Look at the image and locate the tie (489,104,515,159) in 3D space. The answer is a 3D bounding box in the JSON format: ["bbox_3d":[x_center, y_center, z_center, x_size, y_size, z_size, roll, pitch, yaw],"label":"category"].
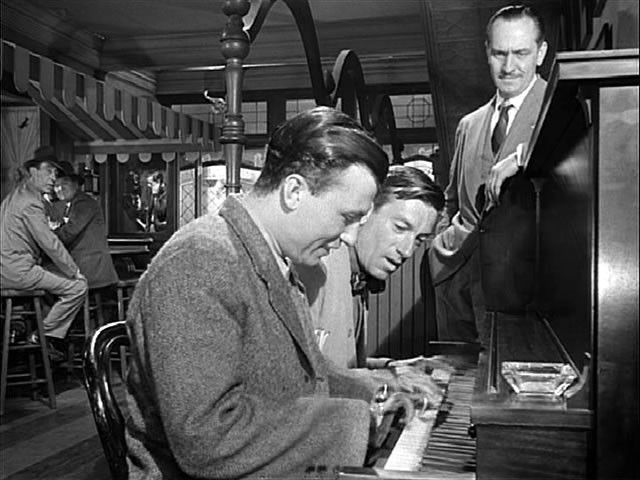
[{"bbox_3d":[0.999,-0.634,3.796,0.088,0.345,0.034,2,-35,23],"label":"tie"}]

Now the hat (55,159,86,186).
[{"bbox_3d":[-2.882,-0.769,7.806,0.380,0.209,0.462,6,-8,-6],"label":"hat"}]

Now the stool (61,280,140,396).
[{"bbox_3d":[-2.231,0.817,7.146,0.481,0.682,0.501,-1,0,32],"label":"stool"}]
